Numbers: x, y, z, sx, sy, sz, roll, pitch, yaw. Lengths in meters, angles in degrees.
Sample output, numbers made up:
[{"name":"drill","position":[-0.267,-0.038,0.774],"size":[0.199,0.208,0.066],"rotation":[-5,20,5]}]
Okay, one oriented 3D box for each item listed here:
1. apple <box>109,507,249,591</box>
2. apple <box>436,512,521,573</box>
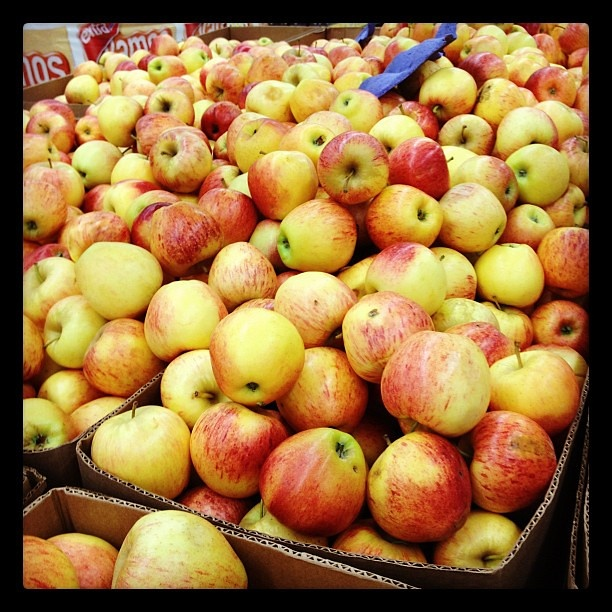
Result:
[{"name":"apple","position":[-0.244,0.489,1.088],"size":[0.204,0.190,0.187],"rotation":[4,62,-5]},{"name":"apple","position":[0.400,0.562,1.341],"size":[0.147,0.147,0.138],"rotation":[-27,36,2]}]
